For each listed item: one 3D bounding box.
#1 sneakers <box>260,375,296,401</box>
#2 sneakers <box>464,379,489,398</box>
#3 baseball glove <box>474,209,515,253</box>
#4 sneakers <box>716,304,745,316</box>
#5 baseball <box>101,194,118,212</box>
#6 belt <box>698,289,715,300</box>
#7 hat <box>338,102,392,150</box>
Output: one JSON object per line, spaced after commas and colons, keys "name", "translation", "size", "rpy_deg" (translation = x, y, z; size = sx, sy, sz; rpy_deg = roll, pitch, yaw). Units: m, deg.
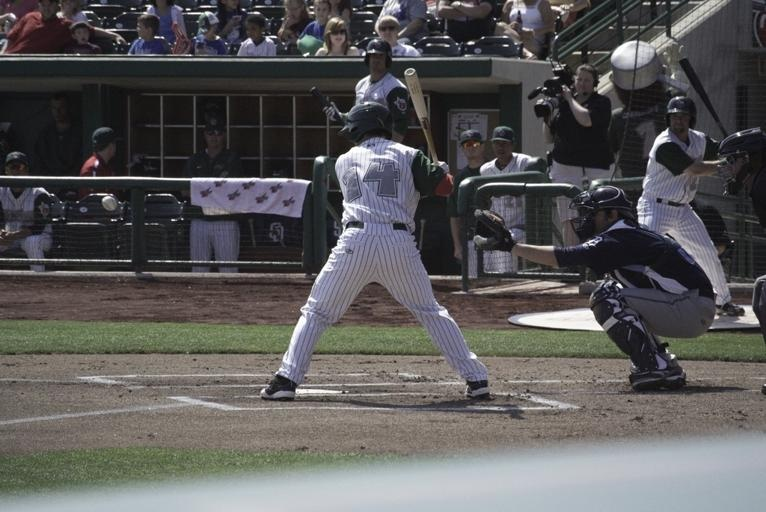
{"name": "sneakers", "translation": [-1.052, 1.340, 15.483], "size": [0.385, 0.267, 0.162], "rpy_deg": [-1, 16, -3]}
{"name": "sneakers", "translation": [0.979, 1.372, 15.648], "size": [0.221, 0.173, 0.198], "rpy_deg": [1, 7, 9]}
{"name": "baseball glove", "translation": [1.182, -0.241, 15.843], "size": [0.525, 0.297, 0.202], "rpy_deg": [35, 11, 14]}
{"name": "sneakers", "translation": [4.297, 0.675, 18.832], "size": [0.374, 0.125, 0.154], "rpy_deg": [-1, 3, -8]}
{"name": "baseball", "translation": [-3.751, -0.702, 21.027], "size": [0.239, 0.242, 0.149], "rpy_deg": [-4, 16, -14]}
{"name": "belt", "translation": [3.434, 0.418, 16.075], "size": [0.141, 0.083, 0.124], "rpy_deg": [1, -1, -6]}
{"name": "hat", "translation": [-0.249, -1.323, 15.791], "size": [0.339, 0.484, 0.630], "rpy_deg": [0, -2, -17]}
